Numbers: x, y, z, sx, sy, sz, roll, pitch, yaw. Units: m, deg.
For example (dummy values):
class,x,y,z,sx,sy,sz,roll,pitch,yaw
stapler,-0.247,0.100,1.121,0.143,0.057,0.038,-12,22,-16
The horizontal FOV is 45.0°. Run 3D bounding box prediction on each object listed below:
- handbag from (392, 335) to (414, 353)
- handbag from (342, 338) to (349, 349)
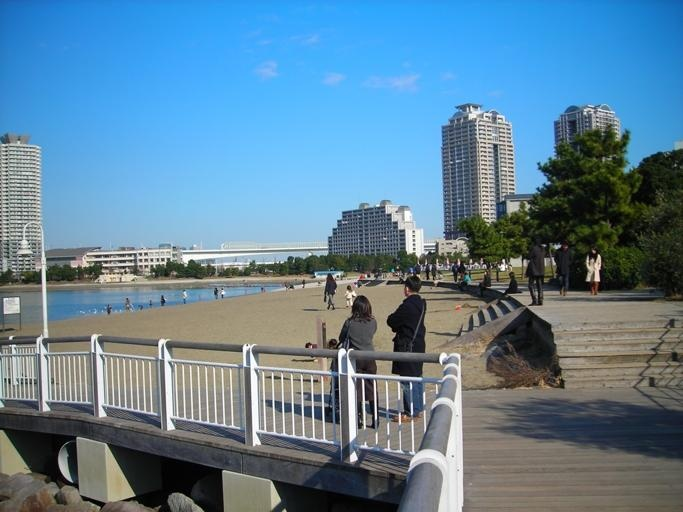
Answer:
class,x,y,z,sx,sy,sz,roll,pitch,yaw
handbag,1.180,1.782,16.341,0.372,0.357,0.271,-3,-3,30
handbag,0.052,1.704,16.068,0.066,0.190,0.210,-3,1,-36
